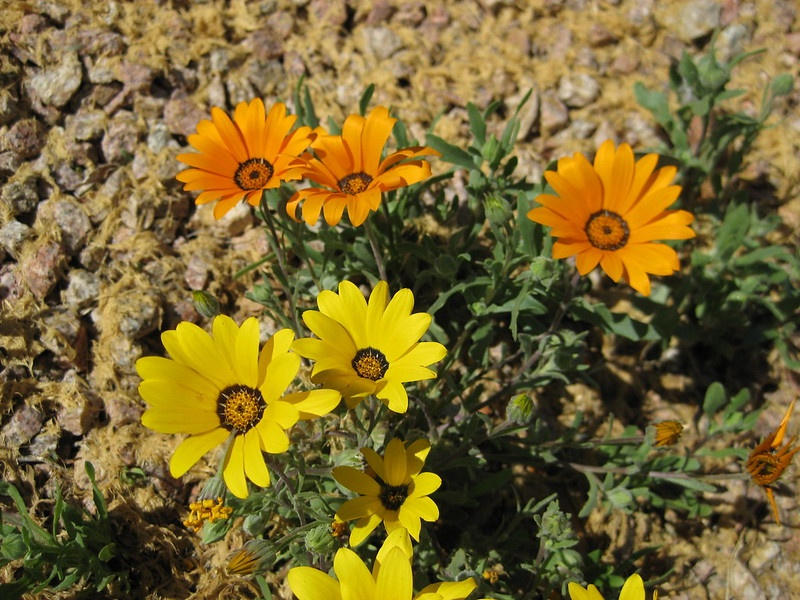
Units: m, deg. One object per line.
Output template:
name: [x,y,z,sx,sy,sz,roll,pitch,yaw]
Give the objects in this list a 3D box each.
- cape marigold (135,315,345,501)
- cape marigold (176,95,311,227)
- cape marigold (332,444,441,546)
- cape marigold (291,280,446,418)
cape marigold: [-0.688,0.468,3.165,0.770,0.247,0.809,-27,71,4]
cape marigold: [-0.740,-0.692,3.581,0.702,0.685,0.269,-24,83,0]
cape marigold: [-0.046,0.831,3.221,0.432,0.143,0.465,27,80,21]
cape marigold: [-0.116,0.216,3.177,0.607,0.285,0.611,-30,55,-30]
